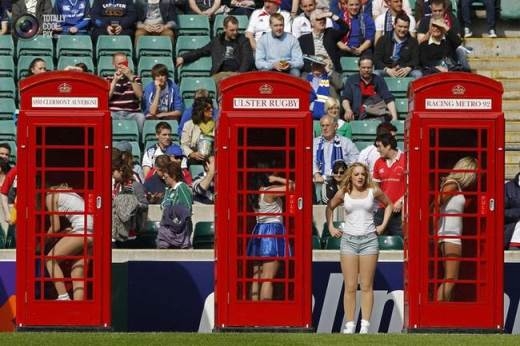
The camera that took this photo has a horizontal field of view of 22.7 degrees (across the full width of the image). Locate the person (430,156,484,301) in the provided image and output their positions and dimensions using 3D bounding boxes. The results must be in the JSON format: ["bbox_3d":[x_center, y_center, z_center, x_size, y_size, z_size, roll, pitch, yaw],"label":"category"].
[{"bbox_3d":[3.273,0.979,21.769,0.764,2.460,0.510,-1,-1,8],"label":"person"}]

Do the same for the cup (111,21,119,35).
[{"bbox_3d":[-3.252,-3.287,28.997,0.253,0.281,0.257,2,16,-1],"label":"cup"}]

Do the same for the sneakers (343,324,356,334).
[{"bbox_3d":[1.454,2.663,21.601,0.271,0.217,0.120,0,0,7],"label":"sneakers"}]

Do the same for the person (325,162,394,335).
[{"bbox_3d":[1.647,1.282,21.666,1.013,2.862,0.556,-1,-1,3],"label":"person"}]

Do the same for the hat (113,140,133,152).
[{"bbox_3d":[-2.604,-0.501,24.783,0.274,0.185,0.426,6,-4,16],"label":"hat"}]

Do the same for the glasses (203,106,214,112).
[{"bbox_3d":[-1.015,-1.276,25.446,0.197,0.109,0.108,-1,-1,-19],"label":"glasses"}]

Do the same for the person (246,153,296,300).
[{"bbox_3d":[0.146,0.995,21.703,0.757,2.364,0.336,-1,-1,1],"label":"person"}]

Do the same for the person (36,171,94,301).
[{"bbox_3d":[-3.219,1.182,21.782,0.793,1.991,0.585,-1,-1,-10],"label":"person"}]

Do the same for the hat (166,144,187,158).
[{"bbox_3d":[-1.642,-0.415,24.715,0.290,0.178,0.213,6,4,22],"label":"hat"}]

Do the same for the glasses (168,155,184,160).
[{"bbox_3d":[-1.580,-0.260,24.585,0.242,0.116,0.148,2,10,-44],"label":"glasses"}]
